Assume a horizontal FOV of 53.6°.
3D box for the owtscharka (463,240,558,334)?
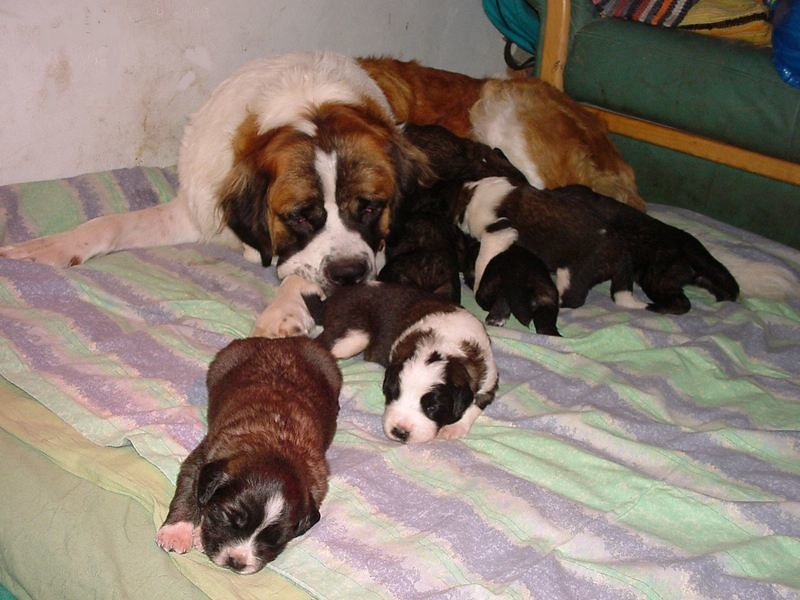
[{"bbox_3d":[0.667,-0.125,4.987,0.270,0.416,0.868,-4,27,-16],"label":"owtscharka"}]
